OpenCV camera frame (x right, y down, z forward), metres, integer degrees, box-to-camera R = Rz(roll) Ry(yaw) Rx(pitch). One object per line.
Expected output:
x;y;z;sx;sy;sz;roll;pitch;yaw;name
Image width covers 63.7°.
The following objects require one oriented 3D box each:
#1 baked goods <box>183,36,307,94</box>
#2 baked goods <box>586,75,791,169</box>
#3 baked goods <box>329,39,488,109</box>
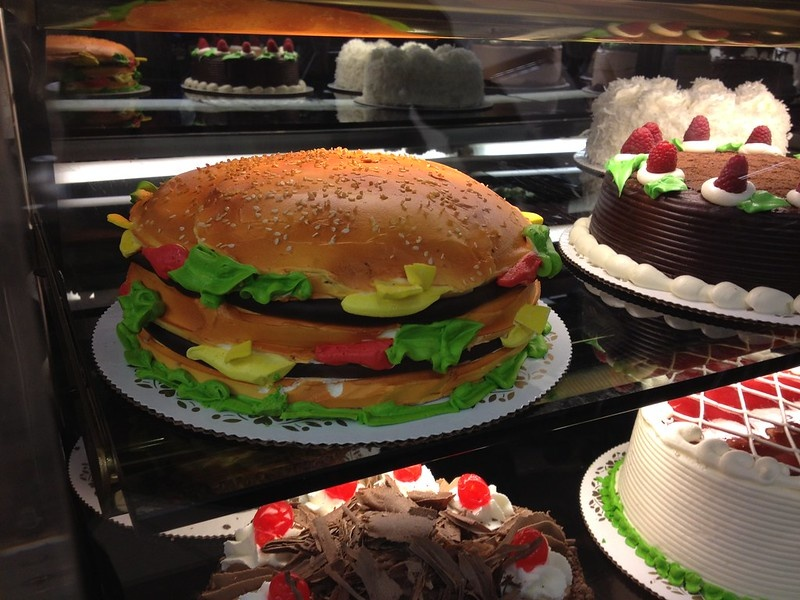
-0.538;-0.815;2.291;0.410;0.102;0.291;0;20;-5;baked goods
1.184;-0.759;2.755;0.835;0.184;0.474;3;14;10;baked goods
-0.005;-0.794;2.278;0.459;0.111;0.383;13;20;29;baked goods
